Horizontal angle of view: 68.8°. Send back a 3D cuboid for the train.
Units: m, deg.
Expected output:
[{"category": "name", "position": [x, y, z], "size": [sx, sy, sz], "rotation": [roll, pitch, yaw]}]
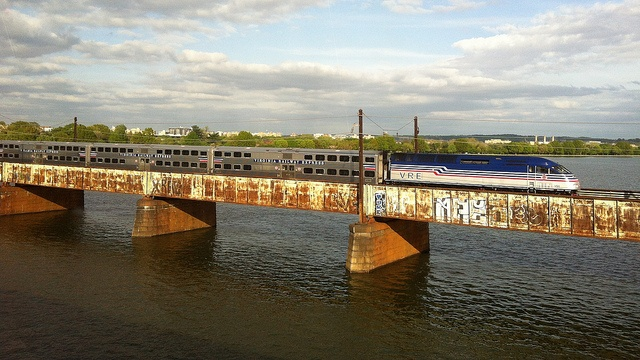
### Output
[{"category": "train", "position": [-17.622, -3.440, 82.319], "size": [112.757, 6.151, 7.462], "rotation": [4, 10, 20]}]
